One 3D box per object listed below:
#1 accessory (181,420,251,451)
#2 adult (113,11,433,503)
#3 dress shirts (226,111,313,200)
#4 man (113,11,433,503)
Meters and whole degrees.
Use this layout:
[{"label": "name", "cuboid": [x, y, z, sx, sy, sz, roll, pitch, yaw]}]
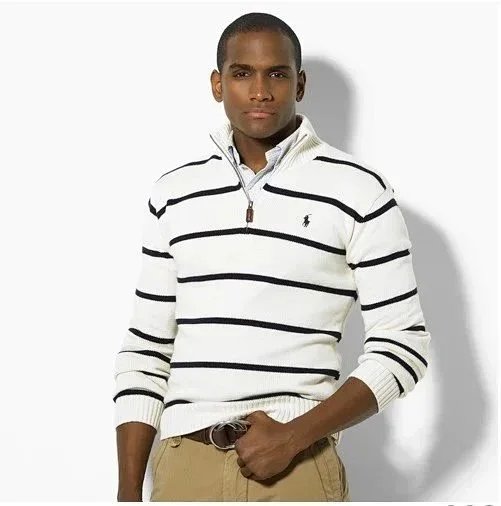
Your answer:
[{"label": "accessory", "cuboid": [-0.085, 0.457, 1.751, 0.117, 0.037, 0.081, -4, -6, 11]}, {"label": "adult", "cuboid": [-0.034, 0.001, 1.978, 0.900, 1.393, 0.348, -17, -17, 21]}, {"label": "dress shirts", "cuboid": [0.043, -0.245, 2.018, 0.236, 0.265, 0.104, 7, -43, 9]}, {"label": "man", "cuboid": [-0.034, 0.001, 1.978, 0.900, 1.393, 0.348, -17, -17, 21]}]
